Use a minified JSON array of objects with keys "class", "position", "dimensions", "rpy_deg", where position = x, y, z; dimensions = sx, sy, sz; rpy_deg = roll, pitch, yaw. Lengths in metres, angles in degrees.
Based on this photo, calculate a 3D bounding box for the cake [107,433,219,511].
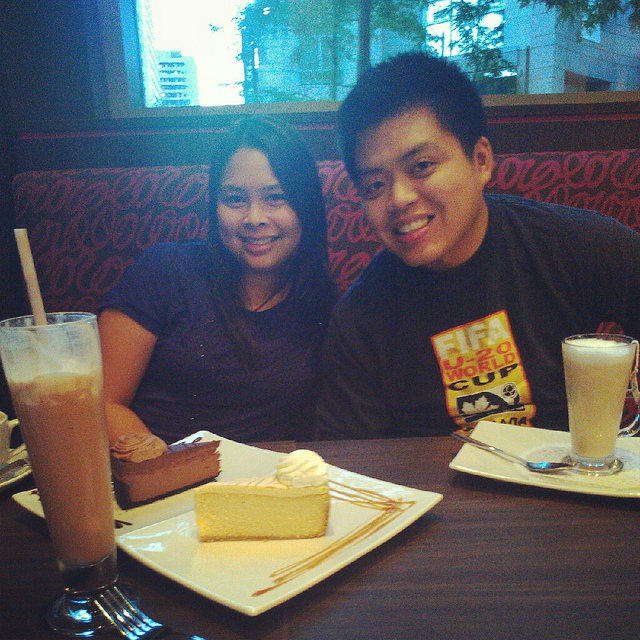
[{"class":"cake","position":[-0.268,0.240,1.182],"dimensions":[0.196,0.097,0.140],"rpy_deg":[-5,8,-21]}]

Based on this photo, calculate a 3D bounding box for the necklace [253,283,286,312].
[{"class":"necklace","position":[-0.146,-0.061,1.850],"dimensions":[0.116,0.013,0.012],"rpy_deg":[-37,36,-3]}]
